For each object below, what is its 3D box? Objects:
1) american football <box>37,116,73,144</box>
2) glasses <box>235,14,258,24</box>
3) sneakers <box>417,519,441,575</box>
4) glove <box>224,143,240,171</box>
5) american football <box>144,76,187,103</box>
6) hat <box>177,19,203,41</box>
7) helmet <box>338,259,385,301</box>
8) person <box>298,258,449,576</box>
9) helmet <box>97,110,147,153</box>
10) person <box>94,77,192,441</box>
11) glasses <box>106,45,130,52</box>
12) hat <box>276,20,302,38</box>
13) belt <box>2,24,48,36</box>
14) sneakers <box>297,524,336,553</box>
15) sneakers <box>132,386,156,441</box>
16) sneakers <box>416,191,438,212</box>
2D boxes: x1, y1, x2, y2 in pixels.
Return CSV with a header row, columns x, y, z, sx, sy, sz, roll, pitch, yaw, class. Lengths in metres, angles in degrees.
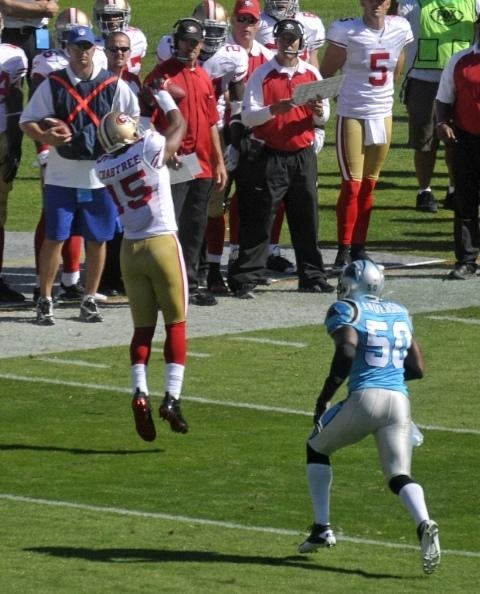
x,y,z,sx,sy,sz,roll,pitch,yaw,class
-1.233,-1.156,8.088,0.246,0.118,0.146,31,-22,23,american football
0.081,-2.356,10.139,0.190,0.080,0.137,1,10,-7,glasses
0.630,0.822,3.956,0.069,0.181,0.097,-5,-8,-10,sneakers
-0.065,-1.085,9.255,0.142,0.185,0.080,27,15,40,glove
-0.429,-1.424,8.112,0.389,0.161,0.232,7,26,43,american football
-0.342,-1.866,8.294,0.199,0.151,0.221,2,10,-4,hat
0.480,-0.048,4.586,0.177,0.194,0.211,5,2,-14,helmet
0.517,0.414,4.331,0.515,1.011,0.921,3,10,5,person
-0.603,-0.842,5.968,0.209,0.175,0.286,-7,13,31,helmet
-0.451,-0.130,5.727,0.441,1.471,0.894,1,10,-10,person
-0.899,-1.829,8.801,0.164,0.053,0.119,1,10,-5,glasses
0.384,-1.981,8.781,0.218,0.136,0.244,2,10,-3,hat
-2.076,-2.467,11.147,0.302,0.142,0.065,0,10,-11,belt
0.289,0.862,4.258,0.128,0.138,0.166,3,10,5,sneakers
-0.434,0.535,5.398,0.090,0.235,0.119,-15,21,-1,sneakers
2.196,-1.106,13.726,0.237,0.272,0.359,4,10,8,sneakers
